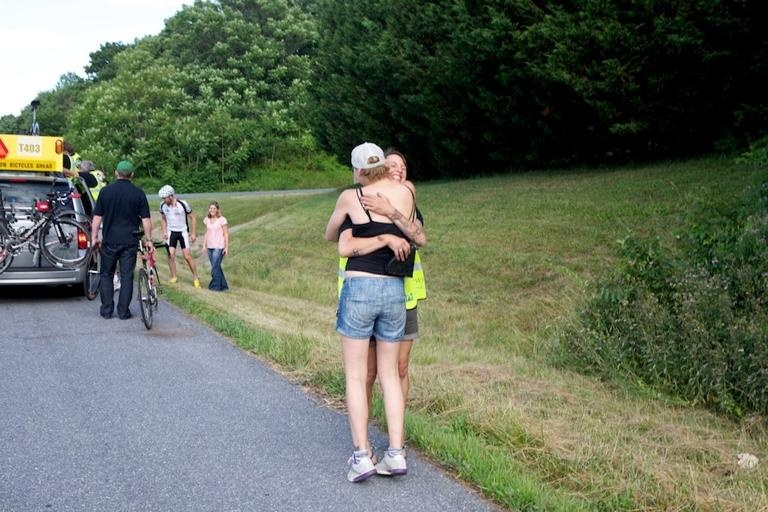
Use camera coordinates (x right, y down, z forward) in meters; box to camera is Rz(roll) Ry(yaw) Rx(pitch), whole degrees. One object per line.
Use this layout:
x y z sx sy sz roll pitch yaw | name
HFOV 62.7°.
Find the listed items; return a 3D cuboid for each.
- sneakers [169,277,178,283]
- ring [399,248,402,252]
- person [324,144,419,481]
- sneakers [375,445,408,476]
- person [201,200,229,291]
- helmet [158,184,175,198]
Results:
-5.383 0.627 16.097 0.120 0.097 0.221 3 10 -18 | sneakers
0.170 -0.049 6.106 0.053 0.043 0.007 0 9 -15 | ring
-0.088 0.540 6.179 0.885 3.217 0.744 4 8 5 | person
0.077 1.985 6.122 0.306 0.295 0.162 4 9 5 | sneakers
-4.205 -0.234 15.822 0.577 2.183 0.805 1 9 -14 | person
-5.187 -1.513 14.971 0.252 0.287 0.515 1 10 -13 | helmet
